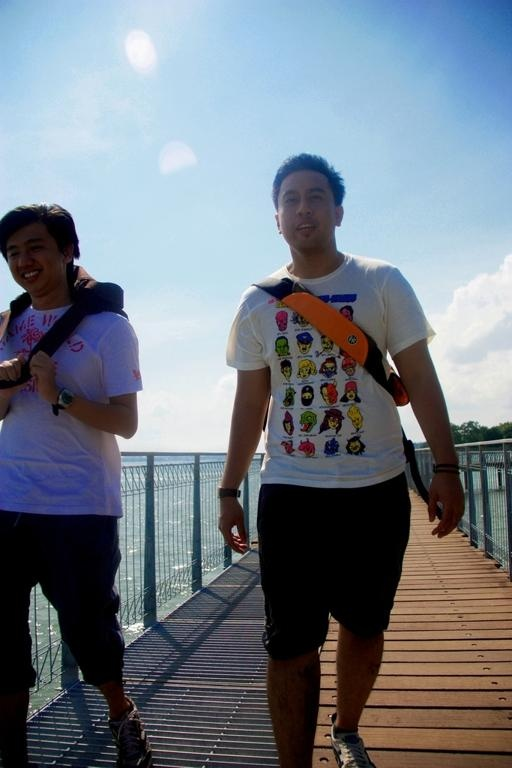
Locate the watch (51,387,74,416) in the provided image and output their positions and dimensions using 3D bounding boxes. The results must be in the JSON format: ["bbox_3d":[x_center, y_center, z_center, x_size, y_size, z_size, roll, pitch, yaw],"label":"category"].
[{"bbox_3d":[-0.561,0.056,1.775,0.051,0.084,0.077,33,-28,-12],"label":"watch"}]

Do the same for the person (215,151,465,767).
[{"bbox_3d":[0.212,0.224,1.700,0.669,1.321,0.464,-1,-1,3],"label":"person"}]

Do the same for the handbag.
[{"bbox_3d":[-0.600,-0.156,1.888,0.234,0.331,0.122,20,-29,39],"label":"handbag"}]
